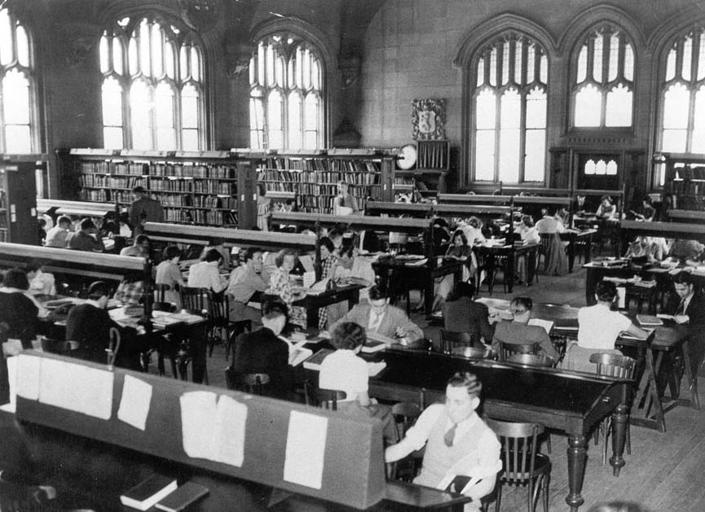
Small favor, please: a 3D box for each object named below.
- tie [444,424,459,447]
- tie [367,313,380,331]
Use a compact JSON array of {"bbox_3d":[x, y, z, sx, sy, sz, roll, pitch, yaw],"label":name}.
[{"bbox_3d":[0.755,1.387,5.578,0.062,0.027,0.188,15,42,24],"label":"tie"},{"bbox_3d":[0.244,0.768,8.249,0.158,0.156,0.042,14,4,5],"label":"tie"}]
